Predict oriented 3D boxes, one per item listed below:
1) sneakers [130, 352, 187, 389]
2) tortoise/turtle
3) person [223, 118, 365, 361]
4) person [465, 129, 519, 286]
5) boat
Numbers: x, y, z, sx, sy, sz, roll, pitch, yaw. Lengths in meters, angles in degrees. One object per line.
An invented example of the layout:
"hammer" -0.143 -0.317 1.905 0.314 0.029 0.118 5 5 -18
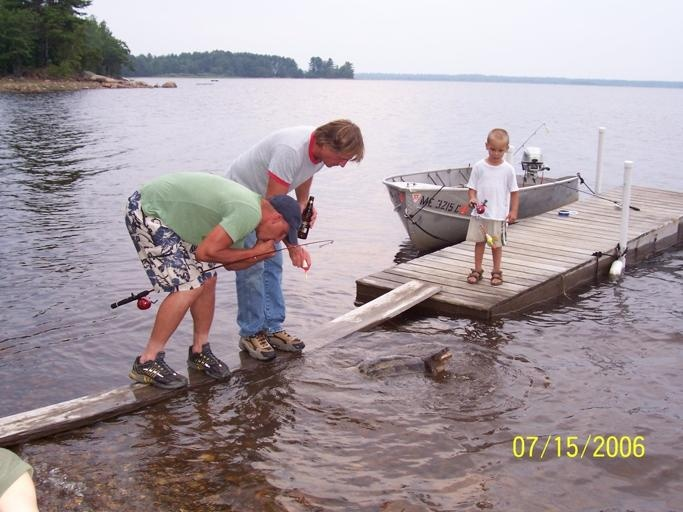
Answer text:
"sneakers" -1.467 0.932 4.913 0.557 0.223 0.222 14 12 4
"tortoise/turtle" 0.502 0.973 5.642 0.772 0.154 0.565 -8 10 -41
"person" -0.437 -0.121 5.536 1.344 1.988 1.343 -9 19 -38
"person" 1.835 -0.587 7.467 0.598 1.843 0.757 2 20 11
"boat" 2.962 -1.347 11.964 4.401 1.597 1.937 -17 26 -35
